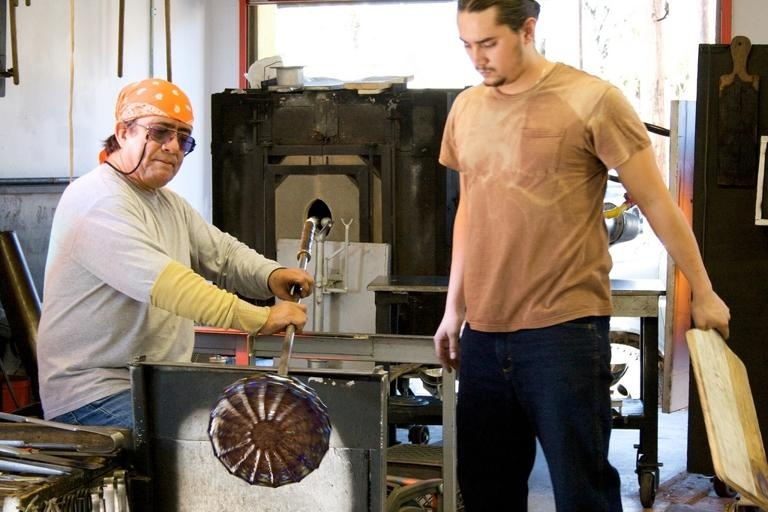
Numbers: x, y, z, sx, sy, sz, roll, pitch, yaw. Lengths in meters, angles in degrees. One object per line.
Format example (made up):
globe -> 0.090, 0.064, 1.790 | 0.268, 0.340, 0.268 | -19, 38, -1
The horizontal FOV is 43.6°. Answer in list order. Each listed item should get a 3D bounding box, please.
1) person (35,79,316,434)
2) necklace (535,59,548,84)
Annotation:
person -> -0.980, -0.028, 4.257 | 1.091, 1.541, 0.715 | 1, 1, -14
necklace -> 0.636, -0.767, 3.964 | 0.028, 0.081, 0.058 | 11, -19, 5
